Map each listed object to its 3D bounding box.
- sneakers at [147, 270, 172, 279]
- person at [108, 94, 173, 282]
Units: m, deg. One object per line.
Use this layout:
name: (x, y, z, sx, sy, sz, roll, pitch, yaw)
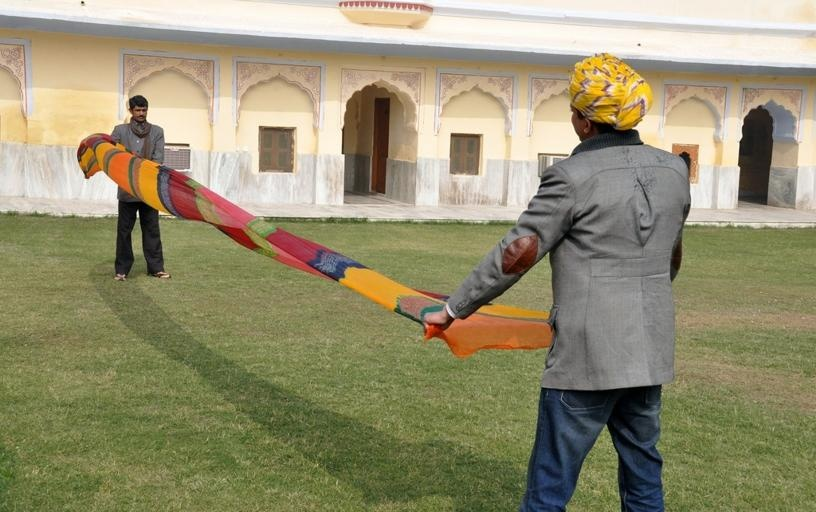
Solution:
sneakers: (-2.571, 0.188, 7.848, 0.218, 0.084, 0.086, 1, 11, 8)
person: (-2.699, -0.688, 7.677, 0.541, 1.850, 0.633, -1, 6, -21)
